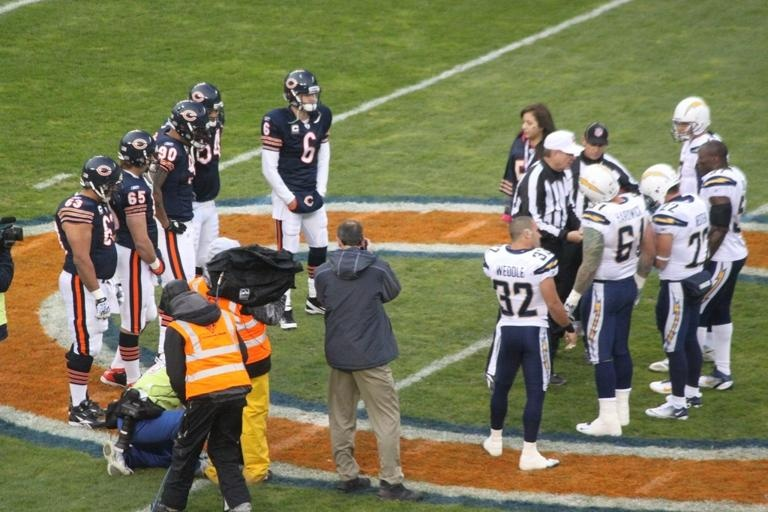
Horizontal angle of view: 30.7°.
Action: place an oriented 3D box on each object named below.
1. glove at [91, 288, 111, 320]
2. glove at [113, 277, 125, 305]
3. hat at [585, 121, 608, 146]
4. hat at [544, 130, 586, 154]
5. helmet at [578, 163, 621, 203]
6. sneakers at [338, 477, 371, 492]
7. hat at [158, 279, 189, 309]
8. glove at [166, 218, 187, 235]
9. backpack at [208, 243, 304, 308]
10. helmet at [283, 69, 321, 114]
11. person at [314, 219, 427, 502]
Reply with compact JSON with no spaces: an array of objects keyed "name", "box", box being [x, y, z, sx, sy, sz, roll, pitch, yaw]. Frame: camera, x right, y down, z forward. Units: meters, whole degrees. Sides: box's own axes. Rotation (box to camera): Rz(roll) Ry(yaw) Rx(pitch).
[{"name":"glove","box":[-3.501,0.589,17.478,0.128,0.345,0.275,-17,-10,-9]},{"name":"glove","box":[-3.353,0.441,17.845,0.116,0.251,0.215,-2,-8,-1]},{"name":"hat","box":[2.765,-1.638,18.387,0.271,0.178,0.308,4,42,-2]},{"name":"hat","box":[2.296,-1.464,17.983,0.464,0.209,0.289,6,24,5]},{"name":"helmet","box":[2.678,-0.927,17.383,0.587,0.445,0.375,4,58,13]},{"name":"sneakers","box":[-0.344,2.707,16.855,0.418,0.153,0.151,-7,23,-20]},{"name":"hat","box":[-2.476,0.441,16.670,0.222,0.315,0.372,16,11,28]},{"name":"glove","box":[-2.707,-0.398,18.431,0.260,0.192,0.073,-16,21,-38]},{"name":"backpack","box":[-1.583,0.220,16.644,0.928,0.362,0.912,5,7,17]},{"name":"helmet","box":[-1.109,-2.243,19.017,0.450,0.572,0.222,-5,18,-3]},{"name":"person","box":[-0.228,1.216,16.798,0.992,3.186,1.395,-5,18,-4]}]
